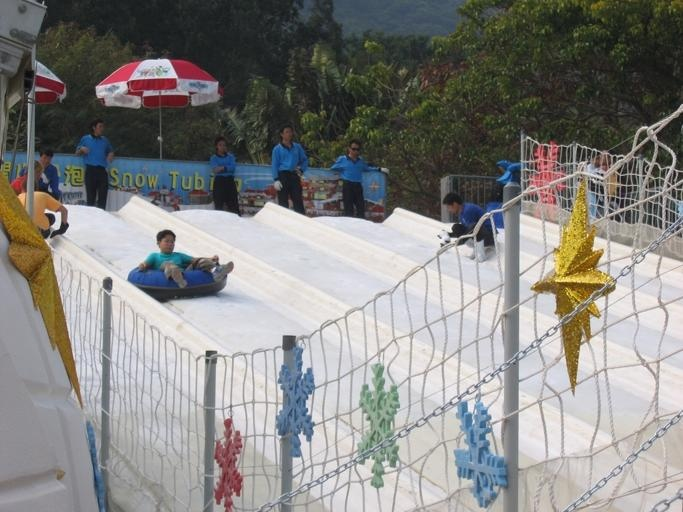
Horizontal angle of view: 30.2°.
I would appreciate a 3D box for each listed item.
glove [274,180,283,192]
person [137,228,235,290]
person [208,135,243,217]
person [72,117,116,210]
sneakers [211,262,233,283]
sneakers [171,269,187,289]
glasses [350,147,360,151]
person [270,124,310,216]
[{"bbox_3d":[-1.130,-1.285,22.849,0.144,0.166,0.041,-5,15,-15],"label":"glove"},{"bbox_3d":[-2.349,0.093,18.702,0.928,0.648,0.997,1,-1,-36],"label":"person"},{"bbox_3d":[-2.122,-1.501,23.498,0.610,1.488,0.678,4,11,-7],"label":"person"},{"bbox_3d":[-4.410,-1.659,22.827,0.674,1.640,0.545,0,12,-26],"label":"person"},{"bbox_3d":[-1.745,0.191,18.682,0.296,0.295,0.230,4,12,-10],"label":"sneakers"},{"bbox_3d":[-2.337,0.293,18.359,0.159,0.307,0.122,-23,3,-22],"label":"sneakers"},{"bbox_3d":[0.263,-1.972,23.004,0.113,0.050,0.126,2,-3,-12],"label":"glasses"},{"bbox_3d":[-0.889,-1.574,23.002,0.599,1.651,1.089,8,12,15],"label":"person"}]
